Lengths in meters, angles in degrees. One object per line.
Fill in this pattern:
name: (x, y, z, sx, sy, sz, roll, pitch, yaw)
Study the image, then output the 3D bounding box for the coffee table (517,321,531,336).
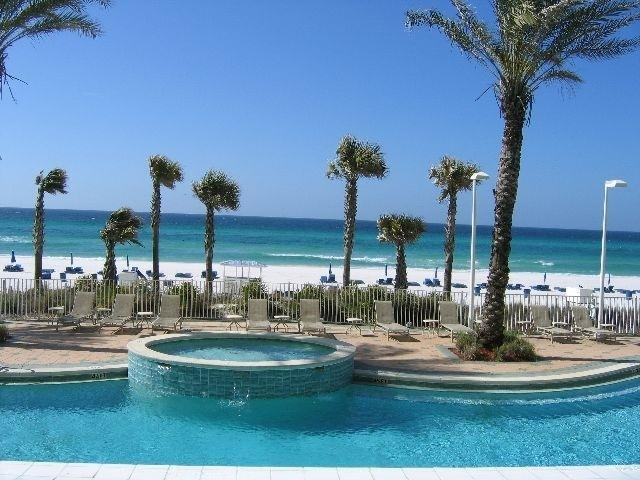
coffee table: (6.358, 2.744, 17.149, 0.449, 0.314, 0.447, -1, 6, -25)
